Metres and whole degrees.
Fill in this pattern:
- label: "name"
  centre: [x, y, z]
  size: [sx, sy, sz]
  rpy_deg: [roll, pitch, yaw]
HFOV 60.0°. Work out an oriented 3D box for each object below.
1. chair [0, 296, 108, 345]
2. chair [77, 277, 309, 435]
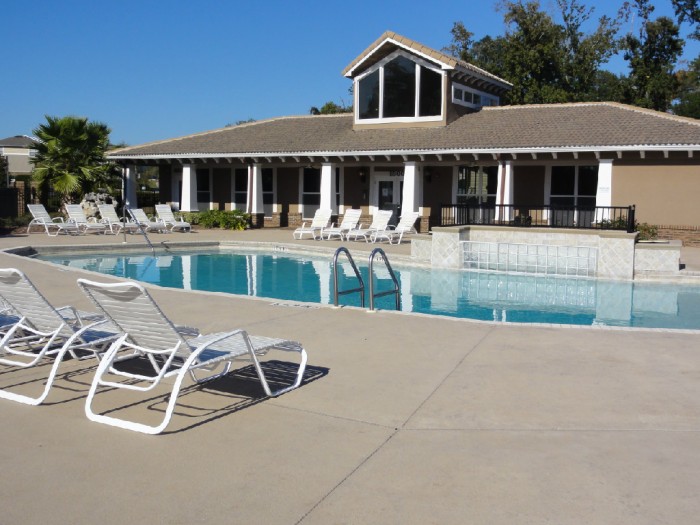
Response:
- label: "chair"
  centre: [-3.476, 0.669, 7.207]
  size: [0.688, 0.521, 1.382]
  rpy_deg: [2, 6, 17]
- label: "chair"
  centre: [-1.468, 0.670, 6.251]
  size: [1.147, 1.460, 2.416]
  rpy_deg: [3, 8, 31]
